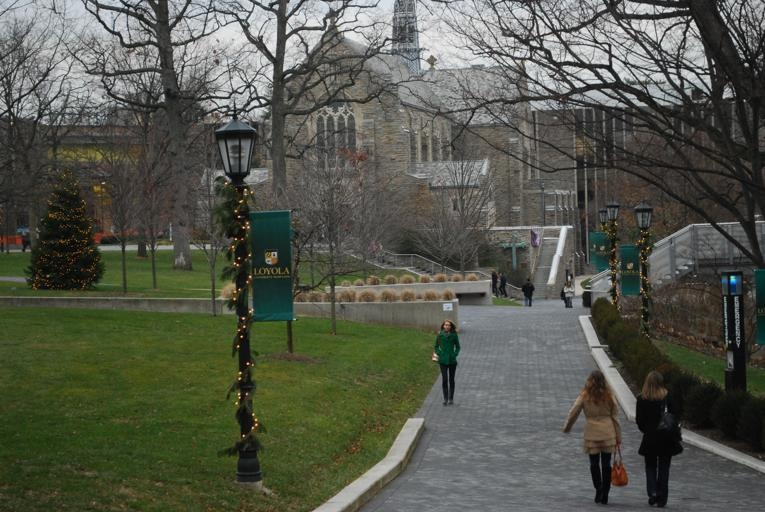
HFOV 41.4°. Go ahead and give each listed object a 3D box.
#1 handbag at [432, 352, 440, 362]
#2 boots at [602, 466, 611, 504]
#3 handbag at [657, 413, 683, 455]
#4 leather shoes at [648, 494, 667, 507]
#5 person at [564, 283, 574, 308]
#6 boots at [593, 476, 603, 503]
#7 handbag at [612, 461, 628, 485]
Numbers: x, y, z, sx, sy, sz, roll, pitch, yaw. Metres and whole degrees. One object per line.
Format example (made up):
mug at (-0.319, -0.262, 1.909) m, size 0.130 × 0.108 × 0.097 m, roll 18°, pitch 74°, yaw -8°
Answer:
handbag at (1.403, 2.720, 27.286) m, size 0.204 × 0.227 × 0.263 m, roll 6°, pitch -34°, yaw 0°
boots at (4.491, 4.607, 20.457) m, size 0.191 × 0.737 × 0.463 m, roll 0°, pitch 1°, yaw 12°
handbag at (5.832, 3.564, 20.433) m, size 0.507 × 0.799 × 0.318 m, roll -7°, pitch 7°, yaw 38°
leather shoes at (5.477, 4.868, 20.259) m, size 0.349 × 0.240 × 0.141 m, roll 0°, pitch 1°, yaw 9°
person at (9.384, 1.953, 51.481) m, size 0.447 × 1.271 × 1.330 m, roll 0°, pitch 1°, yaw 10°
boots at (4.335, 4.710, 20.507) m, size 0.192 × 0.513 × 0.178 m, roll 0°, pitch 1°, yaw 11°
handbag at (4.689, 4.302, 20.200) m, size 0.289 × 0.440 × 0.197 m, roll 0°, pitch 1°, yaw 7°
